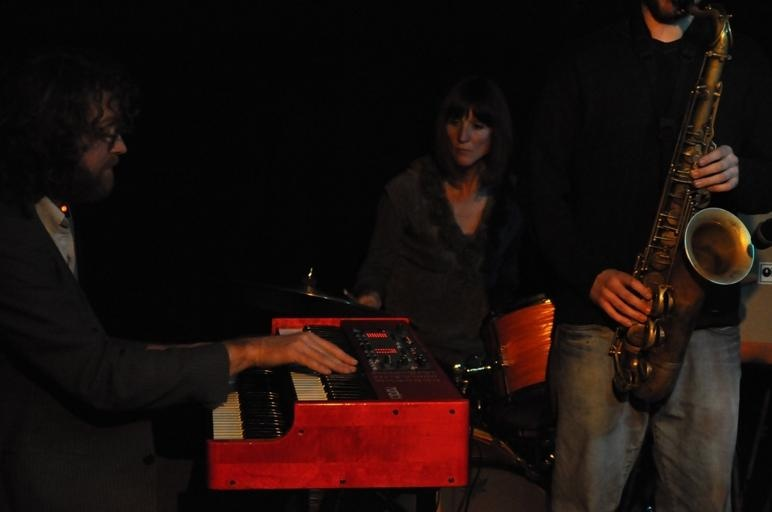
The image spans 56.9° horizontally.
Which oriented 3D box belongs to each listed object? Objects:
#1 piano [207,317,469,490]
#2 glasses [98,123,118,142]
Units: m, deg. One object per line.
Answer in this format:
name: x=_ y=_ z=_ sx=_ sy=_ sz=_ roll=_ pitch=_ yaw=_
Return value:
piano: x=-0.315 y=0.628 z=3.381 sx=1.044 sy=0.394 sz=1.305 roll=3 pitch=8 yaw=-14
glasses: x=-1.213 y=-0.535 z=3.113 sx=0.072 sy=0.067 sz=0.068 roll=-4 pitch=28 yaw=-28
